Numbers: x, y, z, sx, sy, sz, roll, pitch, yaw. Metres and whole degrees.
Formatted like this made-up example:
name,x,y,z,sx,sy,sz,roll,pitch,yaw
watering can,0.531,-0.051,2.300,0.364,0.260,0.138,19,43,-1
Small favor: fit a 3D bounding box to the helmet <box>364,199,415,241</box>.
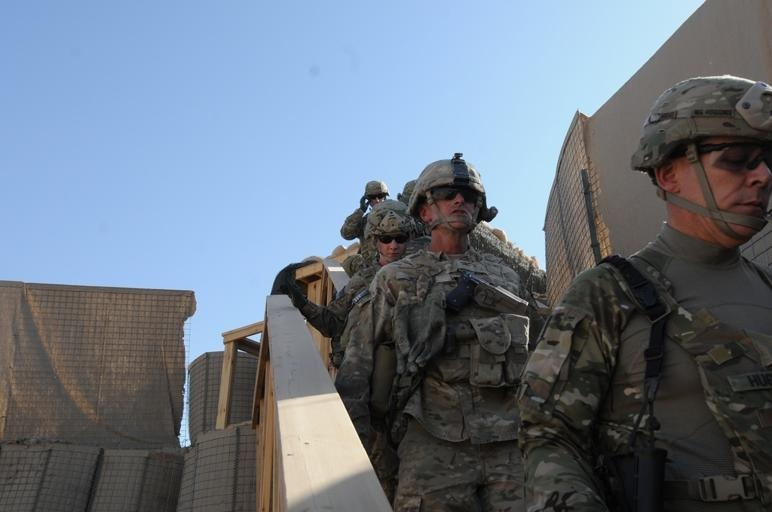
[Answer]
name,x,y,z,sx,sy,sz,roll,pitch,yaw
helmet,0.034,-0.408,6.355,0.447,0.534,0.599,2,-8,0
